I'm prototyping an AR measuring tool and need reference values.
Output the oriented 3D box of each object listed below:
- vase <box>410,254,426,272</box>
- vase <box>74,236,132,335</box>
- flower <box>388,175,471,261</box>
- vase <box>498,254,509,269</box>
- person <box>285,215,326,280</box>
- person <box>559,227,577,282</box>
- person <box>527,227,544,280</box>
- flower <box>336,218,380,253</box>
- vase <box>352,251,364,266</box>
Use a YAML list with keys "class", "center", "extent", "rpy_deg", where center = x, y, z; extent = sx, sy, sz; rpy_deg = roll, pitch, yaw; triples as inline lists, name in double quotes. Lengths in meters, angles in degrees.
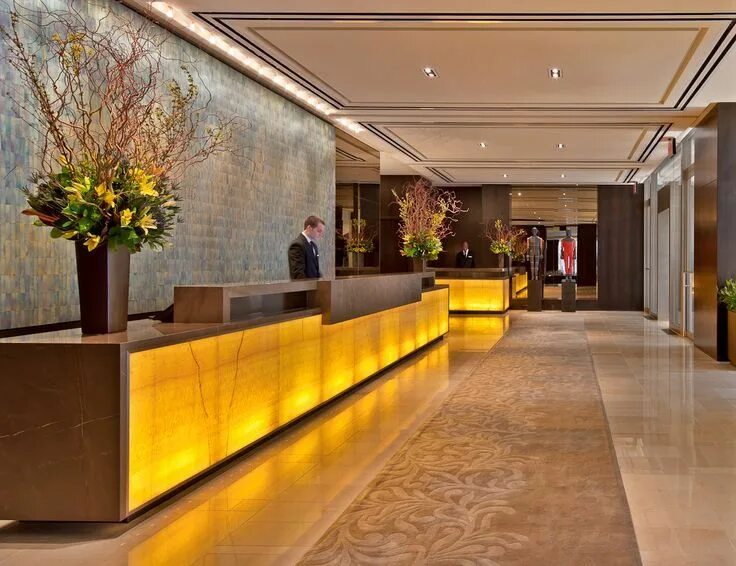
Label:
- class: "vase"
  center: [0.978, -0.375, 9.656]
  extent: [0.305, 0.422, 0.301]
  rpy_deg: [0, -3, 0]
- class: "vase"
  center: [-1.655, 0.005, 3.072]
  extent: [0.383, 0.537, 0.350]
  rpy_deg: [-2, -7, -29]
- class: "flower"
  center: [1.119, -1.345, 9.943]
  extent: [1.208, 1.384, 1.448]
  rpy_deg: [2, 1, 4]
- class: "vase"
  center: [4.949, -0.811, 17.984]
  extent: [0.360, 0.501, 0.762]
  rpy_deg: [0, 0, 17]
- class: "person"
  center: [-0.773, -0.449, 6.252]
  extent: [0.416, 0.784, 0.568]
  rpy_deg: [-1, 0, -6]
- class: "person"
  center: [7.372, -1.123, 18.223]
  extent: [0.548, 1.844, 0.517]
  rpy_deg: [0, 0, 20]
- class: "person"
  center: [6.188, -1.131, 18.196]
  extent: [0.531, 2.025, 1.257]
  rpy_deg: [0, 0, 19]
- class: "flower"
  center: [-0.178, -1.137, 12.119]
  extent: [0.863, 0.830, 0.675]
  rpy_deg: [4, 4, 38]
- class: "vase"
  center: [-0.221, -0.581, 11.910]
  extent: [0.282, 0.345, 0.506]
  rpy_deg: [-1, 0, 9]
